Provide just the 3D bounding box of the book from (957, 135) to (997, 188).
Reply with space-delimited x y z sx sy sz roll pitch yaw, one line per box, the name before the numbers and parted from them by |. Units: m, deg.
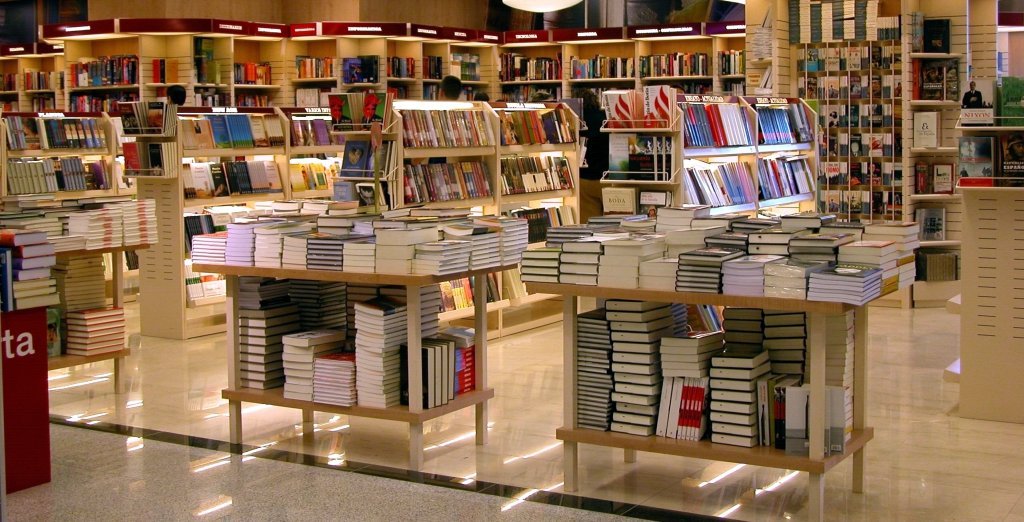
book | 4.460 -0.968 7.491 0.305 0.482 0.210 1 12 26
